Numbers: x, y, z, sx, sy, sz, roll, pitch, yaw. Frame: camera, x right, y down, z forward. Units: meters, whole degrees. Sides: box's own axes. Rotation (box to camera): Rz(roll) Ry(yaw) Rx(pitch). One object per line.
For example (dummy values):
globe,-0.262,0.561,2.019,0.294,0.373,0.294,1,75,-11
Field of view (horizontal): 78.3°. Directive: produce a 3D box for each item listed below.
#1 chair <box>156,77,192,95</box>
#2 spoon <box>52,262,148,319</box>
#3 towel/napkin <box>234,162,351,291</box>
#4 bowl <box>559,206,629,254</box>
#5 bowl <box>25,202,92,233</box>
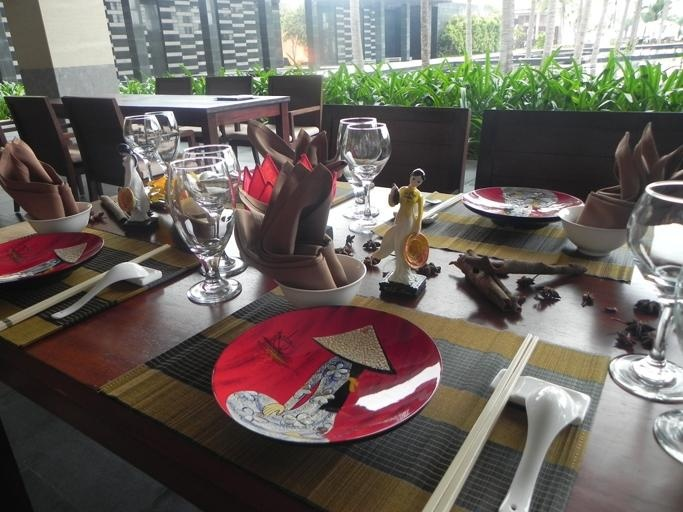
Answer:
chair,-1.753,-1.776,4.401,0.604,0.149,0.227,12,31,26
spoon,-0.407,0.051,0.732,0.058,0.027,0.146,12,24,27
towel/napkin,-0.059,-0.032,0.665,0.189,0.177,0.089,4,-5,24
bowl,0.471,-0.034,0.819,0.107,0.055,0.108,2,25,-1
bowl,-0.600,-0.075,0.914,0.099,0.035,0.096,-1,10,0
